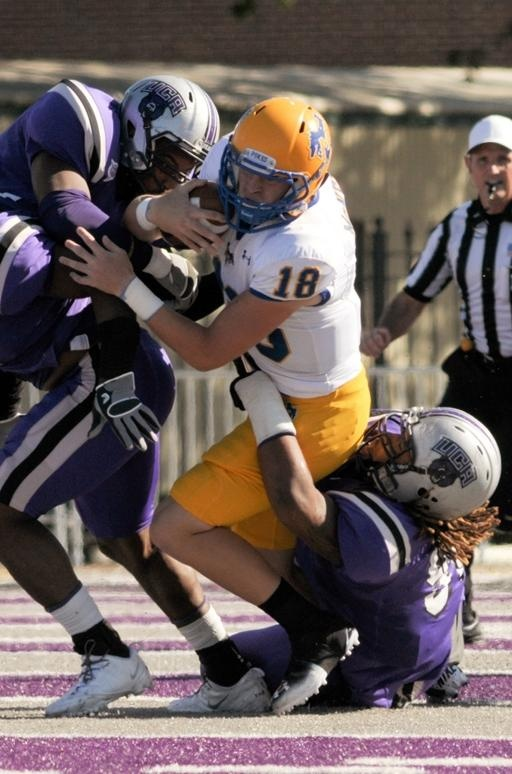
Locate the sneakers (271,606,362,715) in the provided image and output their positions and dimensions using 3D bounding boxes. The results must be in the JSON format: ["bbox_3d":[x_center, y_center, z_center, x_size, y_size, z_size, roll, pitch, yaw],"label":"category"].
[{"bbox_3d":[0.132,0.647,2.059,0.292,0.144,0.106,-50,15,12],"label":"sneakers"}]

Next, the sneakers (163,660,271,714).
[{"bbox_3d":[-0.089,0.743,2.172,0.290,0.100,0.087,2,-7,-4],"label":"sneakers"}]

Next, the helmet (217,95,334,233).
[{"bbox_3d":[0.058,-0.534,2.062,0.252,0.250,0.319,24,50,15],"label":"helmet"}]

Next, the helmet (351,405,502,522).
[{"bbox_3d":[0.468,0.176,2.216,0.388,0.214,0.284,14,15,19],"label":"helmet"}]

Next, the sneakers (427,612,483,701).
[{"bbox_3d":[0.508,0.749,2.357,0.115,0.247,0.204,13,3,12],"label":"sneakers"}]

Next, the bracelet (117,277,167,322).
[{"bbox_3d":[-0.266,-0.199,2.045,0.098,0.094,0.028,-39,30,0],"label":"bracelet"}]

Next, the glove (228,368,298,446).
[{"bbox_3d":[0.018,0.054,2.138,0.069,0.125,0.175,-43,52,24],"label":"glove"}]

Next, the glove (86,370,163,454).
[{"bbox_3d":[-0.287,0.049,1.909,0.126,0.050,0.177,-28,75,-25],"label":"glove"}]

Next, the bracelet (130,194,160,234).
[{"bbox_3d":[-0.255,-0.411,2.111,0.057,0.077,0.071,0,67,-6],"label":"bracelet"}]

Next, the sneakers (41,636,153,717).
[{"bbox_3d":[-0.377,0.695,2.092,0.107,0.109,0.307,-18,-10,30],"label":"sneakers"}]

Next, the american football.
[{"bbox_3d":[-0.157,-0.388,2.113,0.136,0.108,0.188,-50,17,-18],"label":"american football"}]
